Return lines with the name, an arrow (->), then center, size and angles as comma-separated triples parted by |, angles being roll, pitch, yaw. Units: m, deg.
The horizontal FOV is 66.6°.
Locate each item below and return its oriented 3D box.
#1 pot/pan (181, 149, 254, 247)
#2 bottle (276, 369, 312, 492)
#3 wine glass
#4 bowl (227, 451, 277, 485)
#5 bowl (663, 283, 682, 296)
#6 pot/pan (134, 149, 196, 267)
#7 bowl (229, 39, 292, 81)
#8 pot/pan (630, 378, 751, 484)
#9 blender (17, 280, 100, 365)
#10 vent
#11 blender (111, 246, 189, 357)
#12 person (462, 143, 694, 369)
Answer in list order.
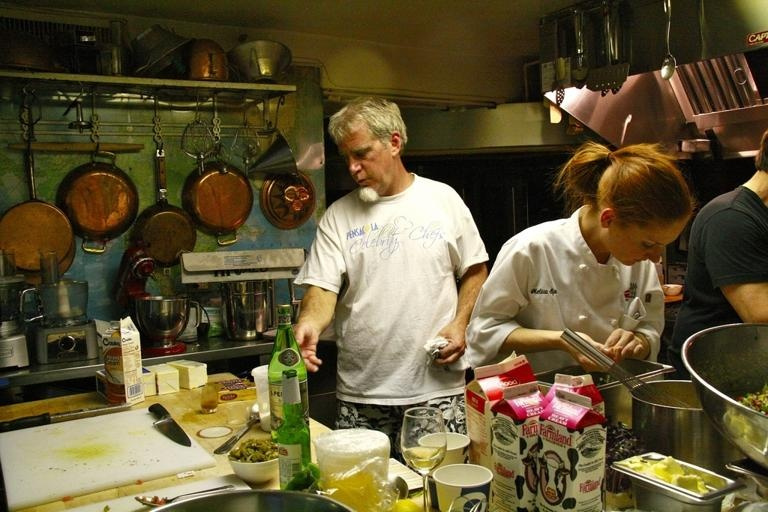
pot/pan -> -1.052, -0.404, 3.962 | 0.539, 0.602, 0.113 | -4, 12, -33
bottle -> -0.255, 0.496, 1.640 | 0.100, 0.298, 0.356 | -4, 2, -11
wine glass -> 0.112, 0.556, 1.598 | 0.119, 0.205, 0.093 | -3, 2, 8
bowl -> -0.397, 0.657, 1.784 | 0.143, 0.077, 0.072 | -3, 2, -11
bowl -> 2.220, 0.259, 4.515 | 0.157, 0.061, 0.146 | 0, -1, 0
pot/pan -> -1.470, -0.315, 3.945 | 0.489, 0.742, 0.118 | -1, 1, -36
bowl -> -0.808, -1.289, 3.863 | 0.330, 0.134, 0.321 | -11, -7, -1
pot/pan -> 0.821, 0.476, 1.674 | 0.288, 0.256, 0.249 | -2, 3, 0
blender -> -1.775, 0.364, 3.260 | 0.312, 0.489, 0.242 | -5, 2, -35
vent -> 2.208, -1.136, 3.920 | 0.424, 0.104, 0.459 | 5, -31, 35
blender -> -1.430, 0.250, 3.637 | 0.394, 0.647, 0.544 | -5, 2, -28
person -> 0.694, 0.019, 2.179 | 0.787, 0.896, 0.492 | -3, 2, 7
